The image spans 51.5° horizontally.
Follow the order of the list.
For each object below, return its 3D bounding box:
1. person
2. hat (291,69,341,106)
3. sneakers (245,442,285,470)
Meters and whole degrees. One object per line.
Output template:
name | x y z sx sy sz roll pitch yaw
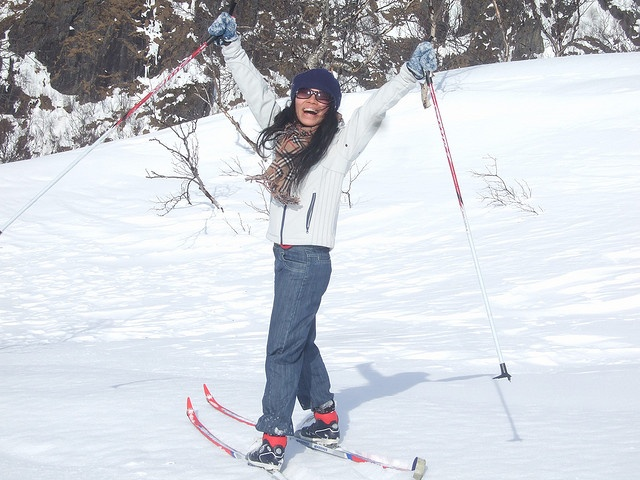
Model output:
person | -0.048 0.048 4.636 1.360 3.006 1.164 2 14 10
hat | -0.028 -1.060 4.669 0.472 0.235 0.398 -2 5 -1
sneakers | -0.377 1.479 4.498 0.250 0.227 0.139 -1 13 -5
